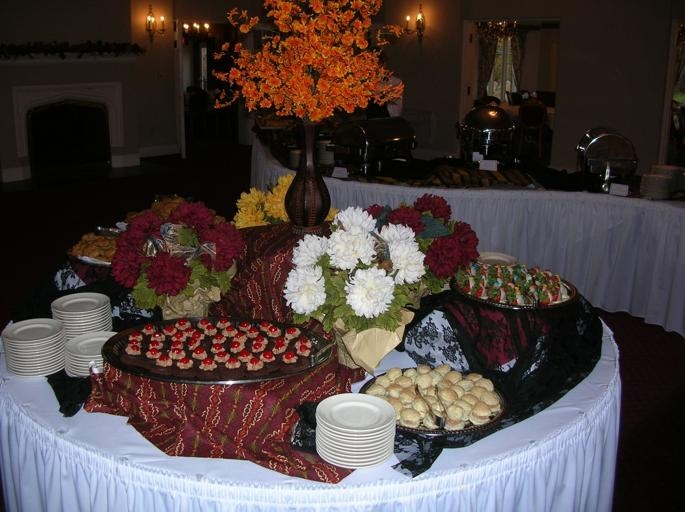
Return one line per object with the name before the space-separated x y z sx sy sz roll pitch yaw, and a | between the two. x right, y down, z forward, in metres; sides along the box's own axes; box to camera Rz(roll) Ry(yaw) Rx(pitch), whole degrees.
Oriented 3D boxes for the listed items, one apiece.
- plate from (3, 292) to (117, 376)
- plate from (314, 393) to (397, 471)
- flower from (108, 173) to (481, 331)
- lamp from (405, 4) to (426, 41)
plate | -1.064 0.277 1.898 0.229 0.121 0.350 19 25 20
plate | 0.037 0.514 1.470 0.226 0.150 0.177 0 14 5
flower | -0.184 -0.076 2.006 1.232 0.379 0.847 -6 26 -8
lamp | 1.320 -4.322 9.243 0.120 0.631 0.459 -13 19 -41
